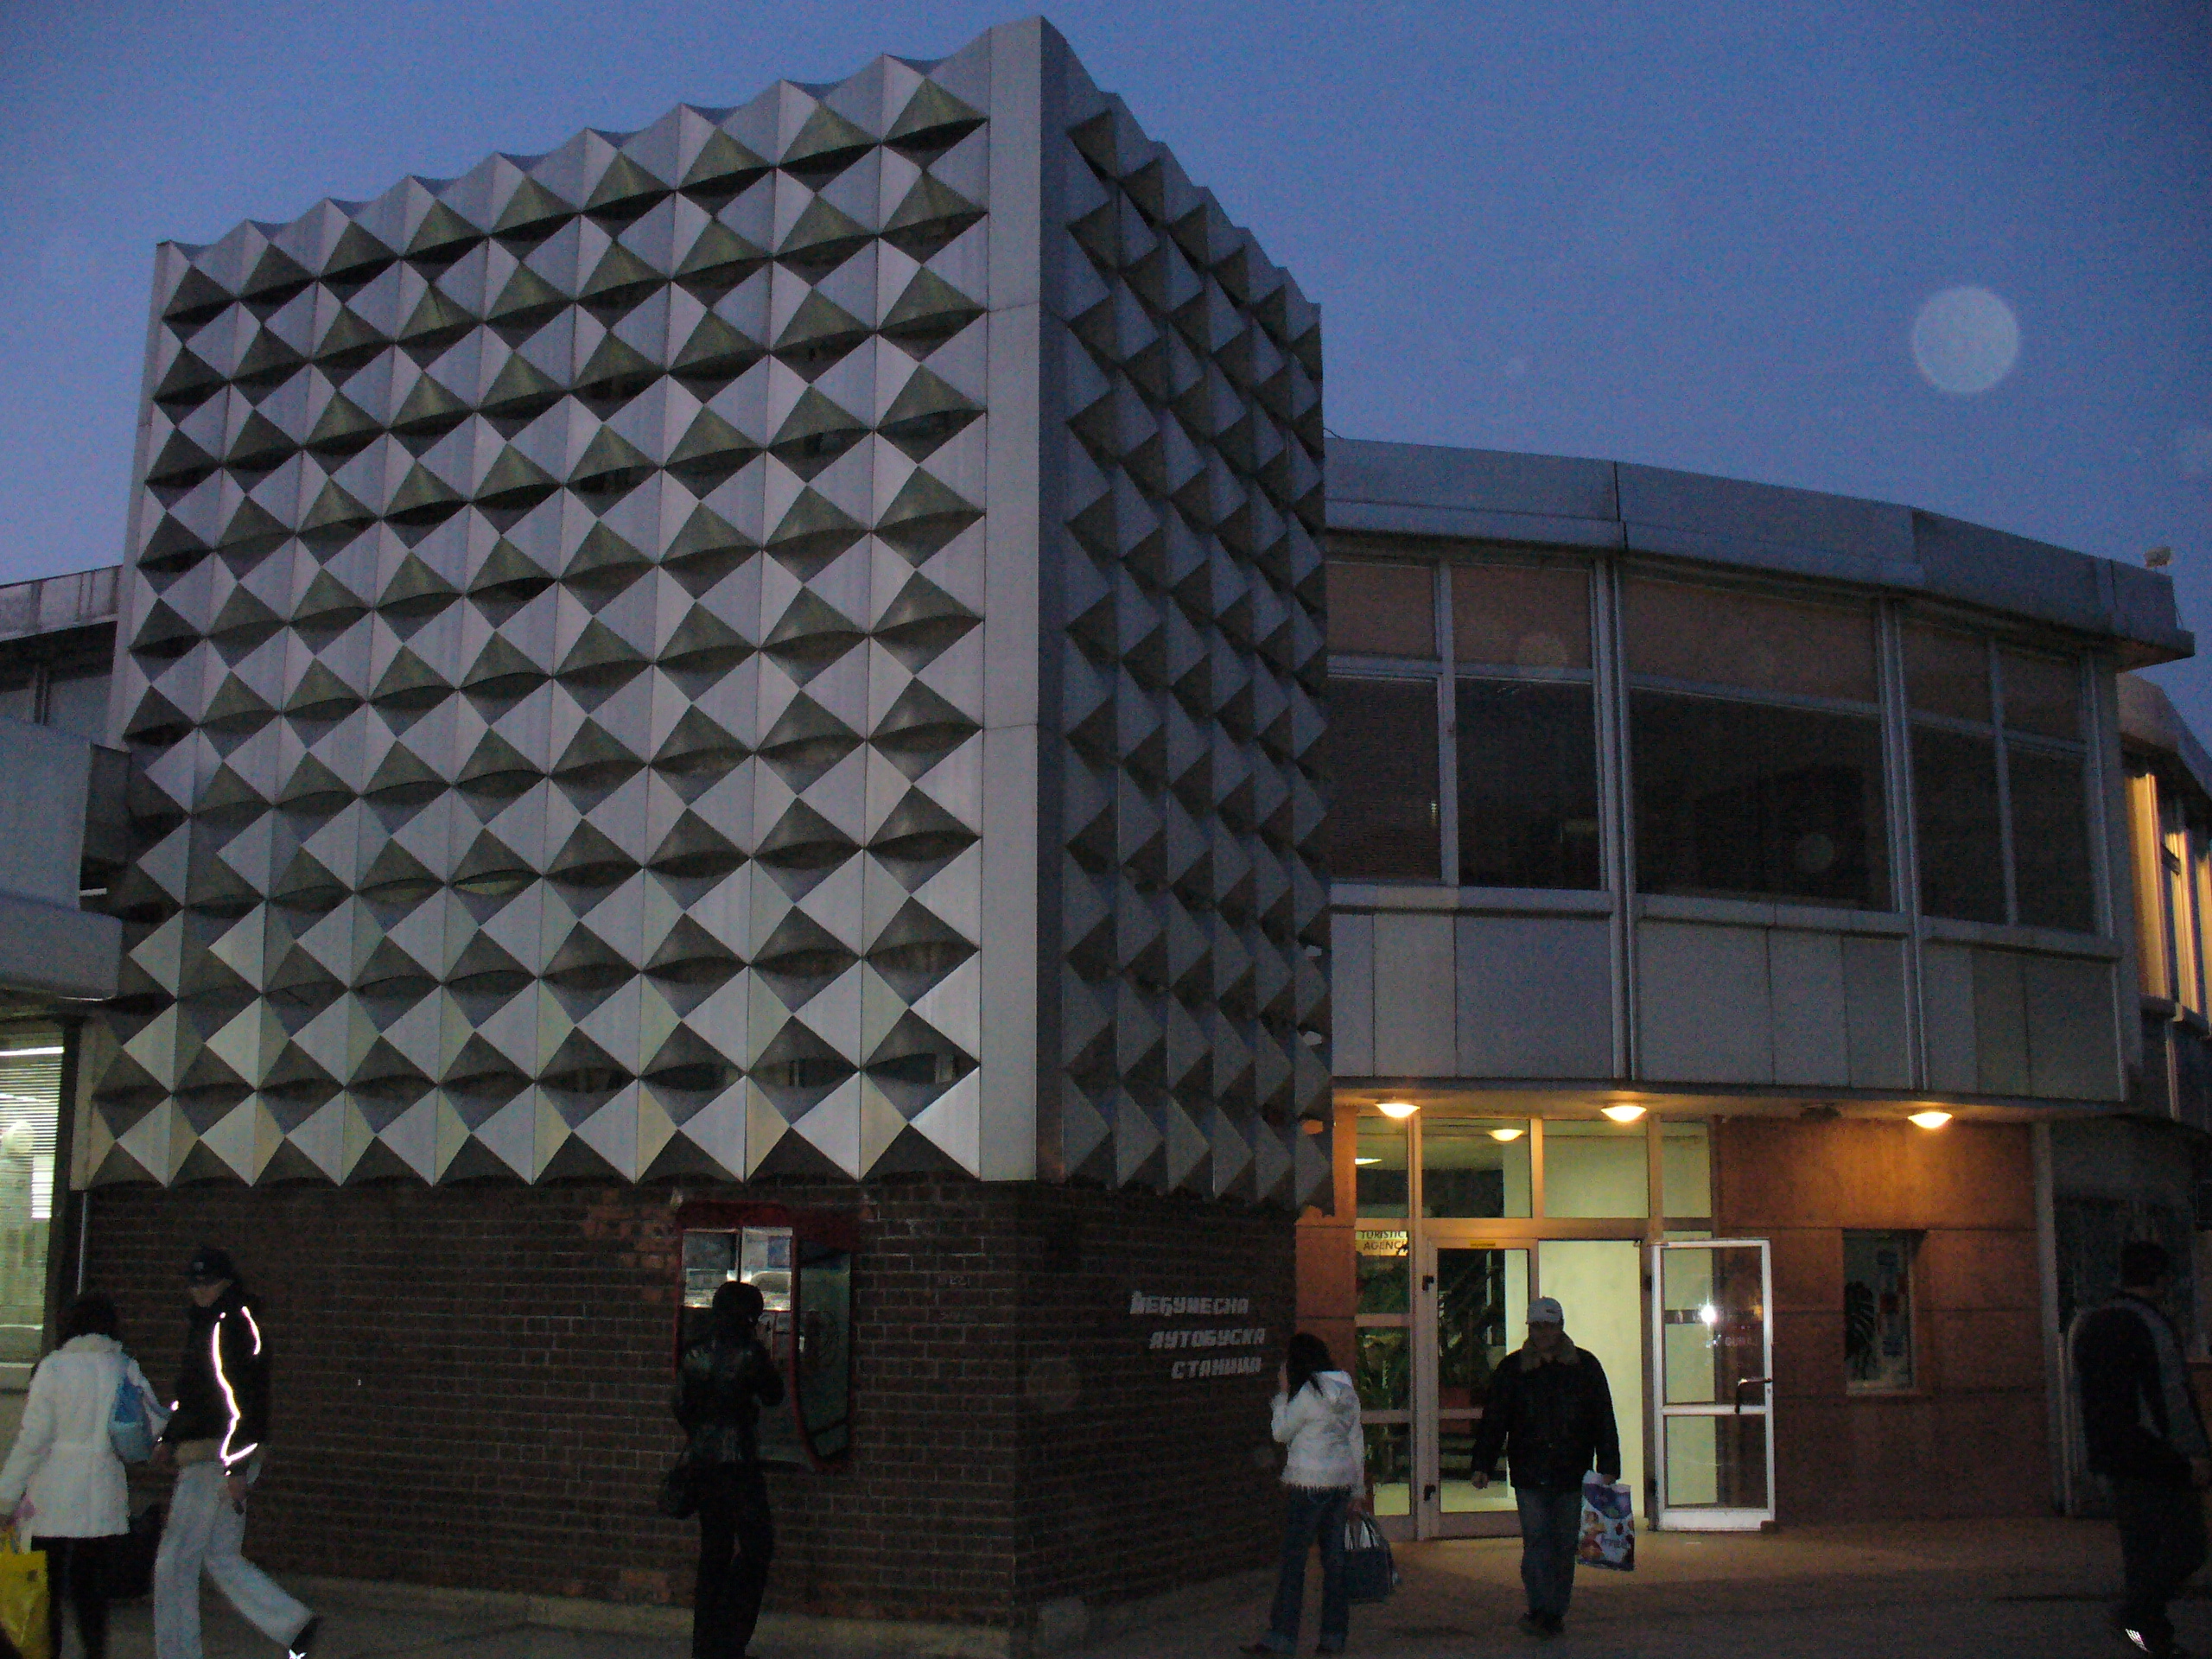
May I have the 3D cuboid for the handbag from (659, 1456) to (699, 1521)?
[{"bbox_3d":[-2.402,3.671,12.347,0.204,0.322,0.252,2,-13,-10],"label":"handbag"}]

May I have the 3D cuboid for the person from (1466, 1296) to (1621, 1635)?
[{"bbox_3d":[2.815,4.056,14.084,0.885,2.043,0.877,-2,-12,11],"label":"person"}]

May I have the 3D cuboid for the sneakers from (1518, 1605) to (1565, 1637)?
[{"bbox_3d":[2.740,4.975,13.823,0.268,0.177,0.218,-2,-13,8],"label":"sneakers"}]
